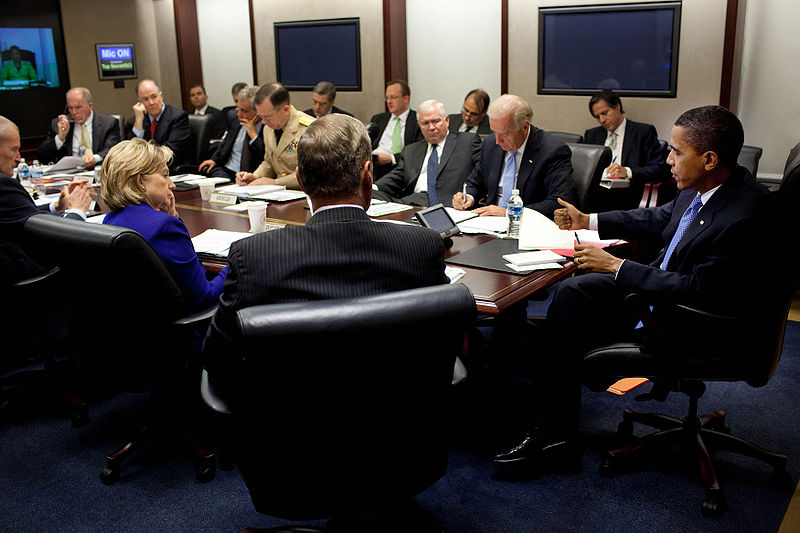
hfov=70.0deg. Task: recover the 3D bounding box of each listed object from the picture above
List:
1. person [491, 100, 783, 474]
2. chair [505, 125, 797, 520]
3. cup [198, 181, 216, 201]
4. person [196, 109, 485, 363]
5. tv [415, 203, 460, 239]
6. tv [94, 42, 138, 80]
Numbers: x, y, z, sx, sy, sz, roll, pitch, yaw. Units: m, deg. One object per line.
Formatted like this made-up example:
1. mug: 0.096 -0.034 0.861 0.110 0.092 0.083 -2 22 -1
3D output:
1. person: 1.248 0.172 3.065 1.181 1.918 0.912 9 17 20
2. chair: 1.314 0.134 2.805 1.161 1.716 0.967 7 20 22
3. cup: -1.434 -0.574 4.358 0.166 0.135 0.170 -1 9 0
4. person: -0.286 -0.049 2.011 0.754 0.901 0.576 13 23 35
5. tv: 0.215 -0.257 3.223 0.223 0.204 0.064 -23 -10 -44
6. tv: -4.010 -2.917 8.078 0.074 0.480 0.588 7 15 36
